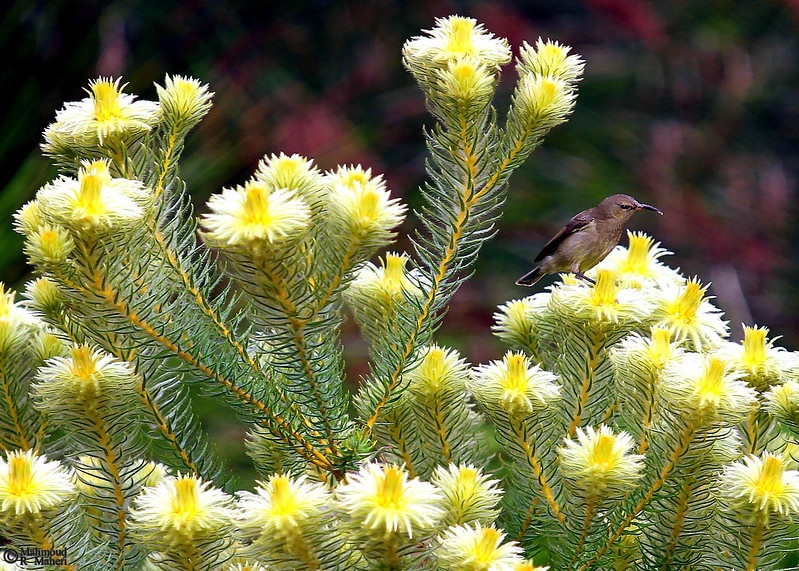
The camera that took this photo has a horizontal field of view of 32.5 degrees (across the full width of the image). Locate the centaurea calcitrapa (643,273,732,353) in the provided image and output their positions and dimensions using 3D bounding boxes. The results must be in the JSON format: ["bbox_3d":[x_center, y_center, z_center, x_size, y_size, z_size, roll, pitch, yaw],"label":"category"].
[{"bbox_3d":[0.834,0.082,3.971,0.191,0.235,0.141,-2,2,3],"label":"centaurea calcitrapa"}]

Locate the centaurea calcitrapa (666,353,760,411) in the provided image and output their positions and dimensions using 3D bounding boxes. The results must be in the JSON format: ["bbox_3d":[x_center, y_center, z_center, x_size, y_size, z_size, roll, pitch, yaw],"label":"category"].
[{"bbox_3d":[0.846,0.268,3.756,0.227,0.158,0.227,6,13,5],"label":"centaurea calcitrapa"}]

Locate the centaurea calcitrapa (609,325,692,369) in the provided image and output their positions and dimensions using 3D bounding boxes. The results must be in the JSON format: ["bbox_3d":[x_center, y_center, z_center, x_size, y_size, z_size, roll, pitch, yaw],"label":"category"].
[{"bbox_3d":[0.696,0.177,3.865,0.178,0.145,0.112,28,45,9],"label":"centaurea calcitrapa"}]

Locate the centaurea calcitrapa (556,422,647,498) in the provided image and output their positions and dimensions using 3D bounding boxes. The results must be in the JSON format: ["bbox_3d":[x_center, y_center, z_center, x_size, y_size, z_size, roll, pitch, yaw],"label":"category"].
[{"bbox_3d":[0.540,0.470,3.782,0.207,0.208,0.201,-9,8,-5],"label":"centaurea calcitrapa"}]

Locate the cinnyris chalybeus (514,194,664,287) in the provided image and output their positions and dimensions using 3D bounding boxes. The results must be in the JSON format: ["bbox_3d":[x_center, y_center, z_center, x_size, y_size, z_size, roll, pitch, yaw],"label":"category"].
[{"bbox_3d":[0.678,-0.158,5.028,0.507,0.324,0.212,-6,-20,26],"label":"cinnyris chalybeus"}]
